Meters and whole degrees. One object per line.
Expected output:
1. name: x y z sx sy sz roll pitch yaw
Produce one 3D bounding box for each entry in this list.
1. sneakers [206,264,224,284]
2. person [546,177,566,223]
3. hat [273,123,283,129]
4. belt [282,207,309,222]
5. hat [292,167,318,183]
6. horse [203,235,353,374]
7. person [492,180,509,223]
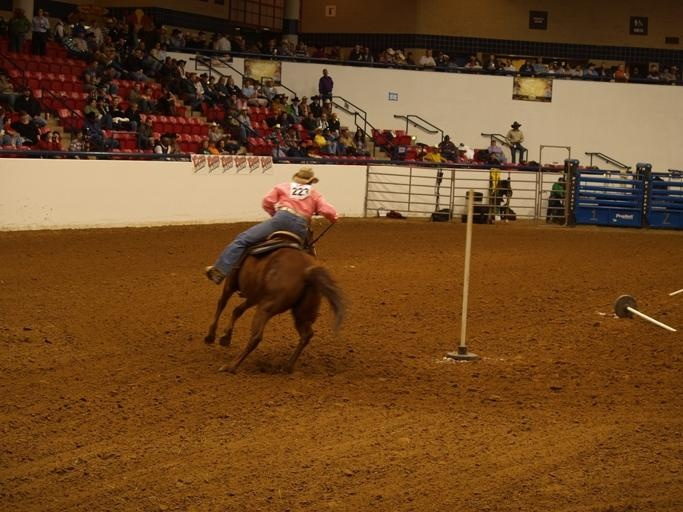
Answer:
1. sneakers: -1.701 0.228 9.184 0.158 0.223 0.302 -40 25 -16
2. person: 8.600 -2.232 27.493 0.671 1.840 1.036 2 11 0
3. hat: -2.466 -5.064 26.813 0.241 0.086 0.261 1 -2 18
4. belt: -0.596 -0.536 8.981 0.406 0.191 0.189 -1 11 -16
5. hat: -0.487 -1.074 9.316 0.258 0.125 0.303 10 21 1
6. horse: -0.790 0.549 8.705 1.751 1.666 0.926 4 11 10
7. person: 6.323 -2.304 27.266 0.353 1.428 0.959 4 -1 37
